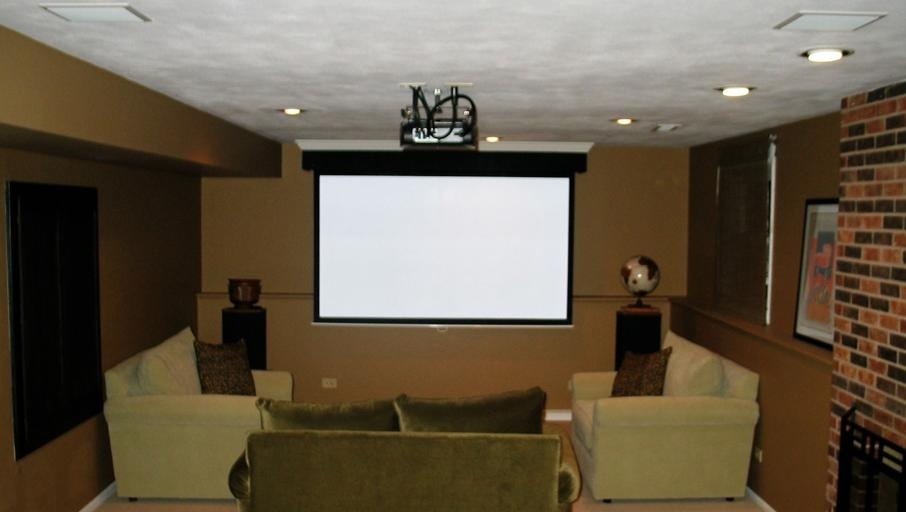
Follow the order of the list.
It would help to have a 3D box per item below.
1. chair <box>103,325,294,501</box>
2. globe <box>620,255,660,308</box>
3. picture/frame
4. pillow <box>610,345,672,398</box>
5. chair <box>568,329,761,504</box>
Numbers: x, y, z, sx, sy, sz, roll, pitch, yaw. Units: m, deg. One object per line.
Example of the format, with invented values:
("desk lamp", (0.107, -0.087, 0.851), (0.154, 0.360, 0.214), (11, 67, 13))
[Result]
("chair", (-2.352, 1.367, 6.397), (1.609, 1.118, 1.581), (-1, 3, -10))
("globe", (2.159, 0.276, 7.561), (0.386, 0.428, 0.371), (-5, 6, -26))
("picture/frame", (3.199, 0.132, 5.801), (0.184, 1.272, 0.462), (-2, 3, -3))
("pillow", (1.879, 1.174, 6.570), (0.557, 0.496, 0.167), (-7, -40, 45))
("chair", (2.035, 1.495, 6.651), (1.572, 1.233, 1.614), (0, -3, 3))
